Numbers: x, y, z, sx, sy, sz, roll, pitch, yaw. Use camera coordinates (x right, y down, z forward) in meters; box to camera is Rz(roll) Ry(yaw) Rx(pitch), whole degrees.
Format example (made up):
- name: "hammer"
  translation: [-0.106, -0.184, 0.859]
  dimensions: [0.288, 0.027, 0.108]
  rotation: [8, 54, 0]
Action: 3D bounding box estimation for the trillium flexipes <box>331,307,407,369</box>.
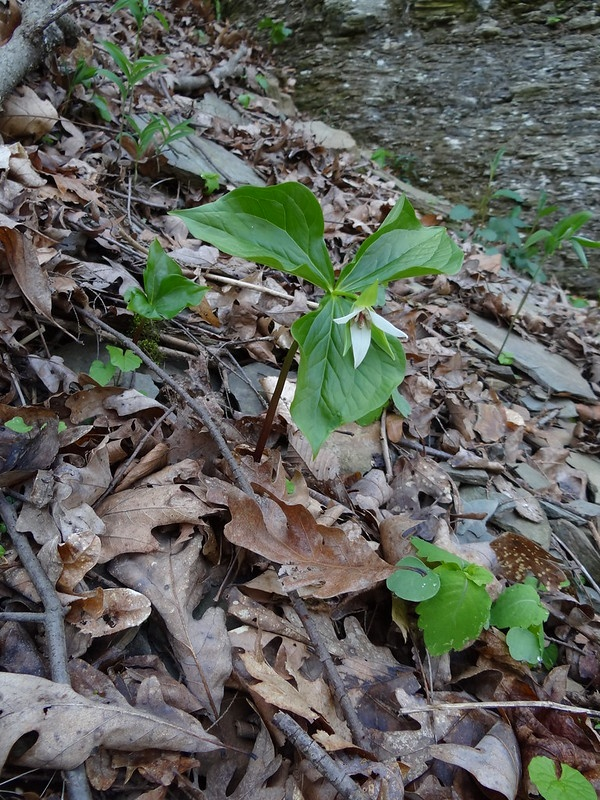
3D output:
- name: "trillium flexipes"
  translation: [0.182, -0.179, 1.961]
  dimensions: [0.186, 0.204, 0.202]
  rotation: [15, 29, 2]
